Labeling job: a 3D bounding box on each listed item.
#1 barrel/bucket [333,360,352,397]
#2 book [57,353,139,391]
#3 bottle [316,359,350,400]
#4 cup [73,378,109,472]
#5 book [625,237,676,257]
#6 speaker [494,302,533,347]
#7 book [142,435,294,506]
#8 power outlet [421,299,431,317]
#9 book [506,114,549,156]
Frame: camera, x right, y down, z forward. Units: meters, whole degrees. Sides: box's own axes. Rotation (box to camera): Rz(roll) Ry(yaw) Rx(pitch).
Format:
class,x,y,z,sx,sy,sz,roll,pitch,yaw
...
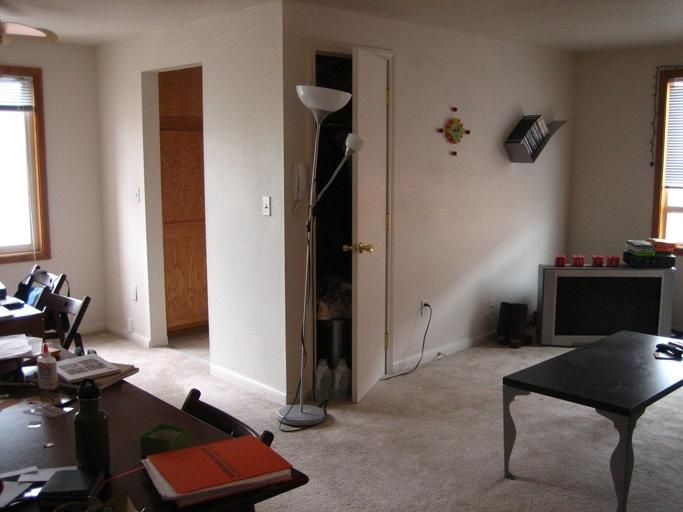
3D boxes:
class,x,y,z,sx,sy,sz,roll,pitch,yaw
barrel/bucket,-0.008,0.959,4.243,0.175,0.283,0.184,-1,8,0
book,-1.151,0.532,2.508,0.235,0.058,0.232,-11,20,-40
bottle,-0.041,0.965,4.259,0.280,0.284,0.284,2,6,11
cup,-0.868,0.600,1.866,0.111,0.312,0.177,-6,12,-28
book,3.033,-0.092,5.308,0.350,0.130,0.364,-3,12,-15
speaker,1.702,0.678,5.364,0.317,0.440,0.418,5,11,37
book,-0.432,0.741,1.883,0.489,0.088,0.265,-5,12,-23
power outlet,0.772,0.462,4.885,0.130,0.139,0.012,-10,15,-42
book,1.828,-1.210,5.350,0.201,0.193,0.374,-29,11,42
